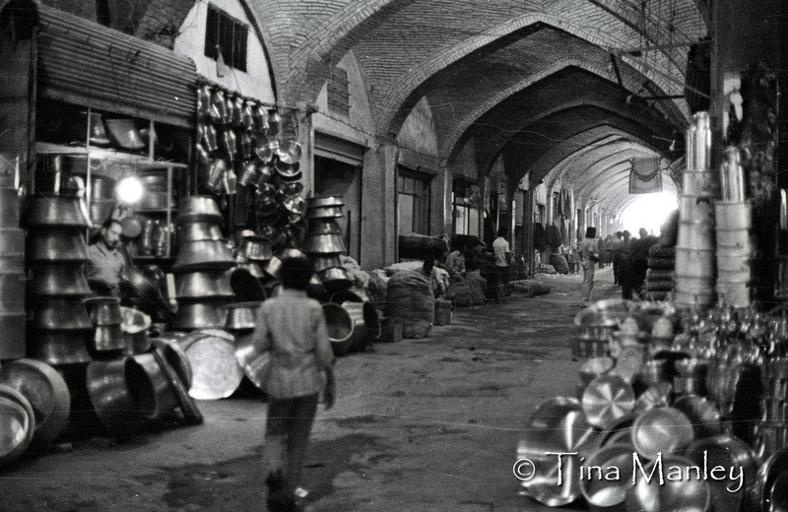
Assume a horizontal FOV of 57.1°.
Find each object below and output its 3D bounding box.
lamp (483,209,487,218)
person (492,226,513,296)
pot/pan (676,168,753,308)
[{"bbox_3d":[3.187,-1.501,25.427,0.148,0.262,0.105,-1,-4,-13],"label":"lamp"},{"bbox_3d":[2.665,0.220,18.145,0.376,1.671,1.237,-1,-3,12],"label":"person"},{"bbox_3d":[2.574,-0.160,5.880,0.567,1.106,0.210,-2,-3,25],"label":"pot/pan"}]
